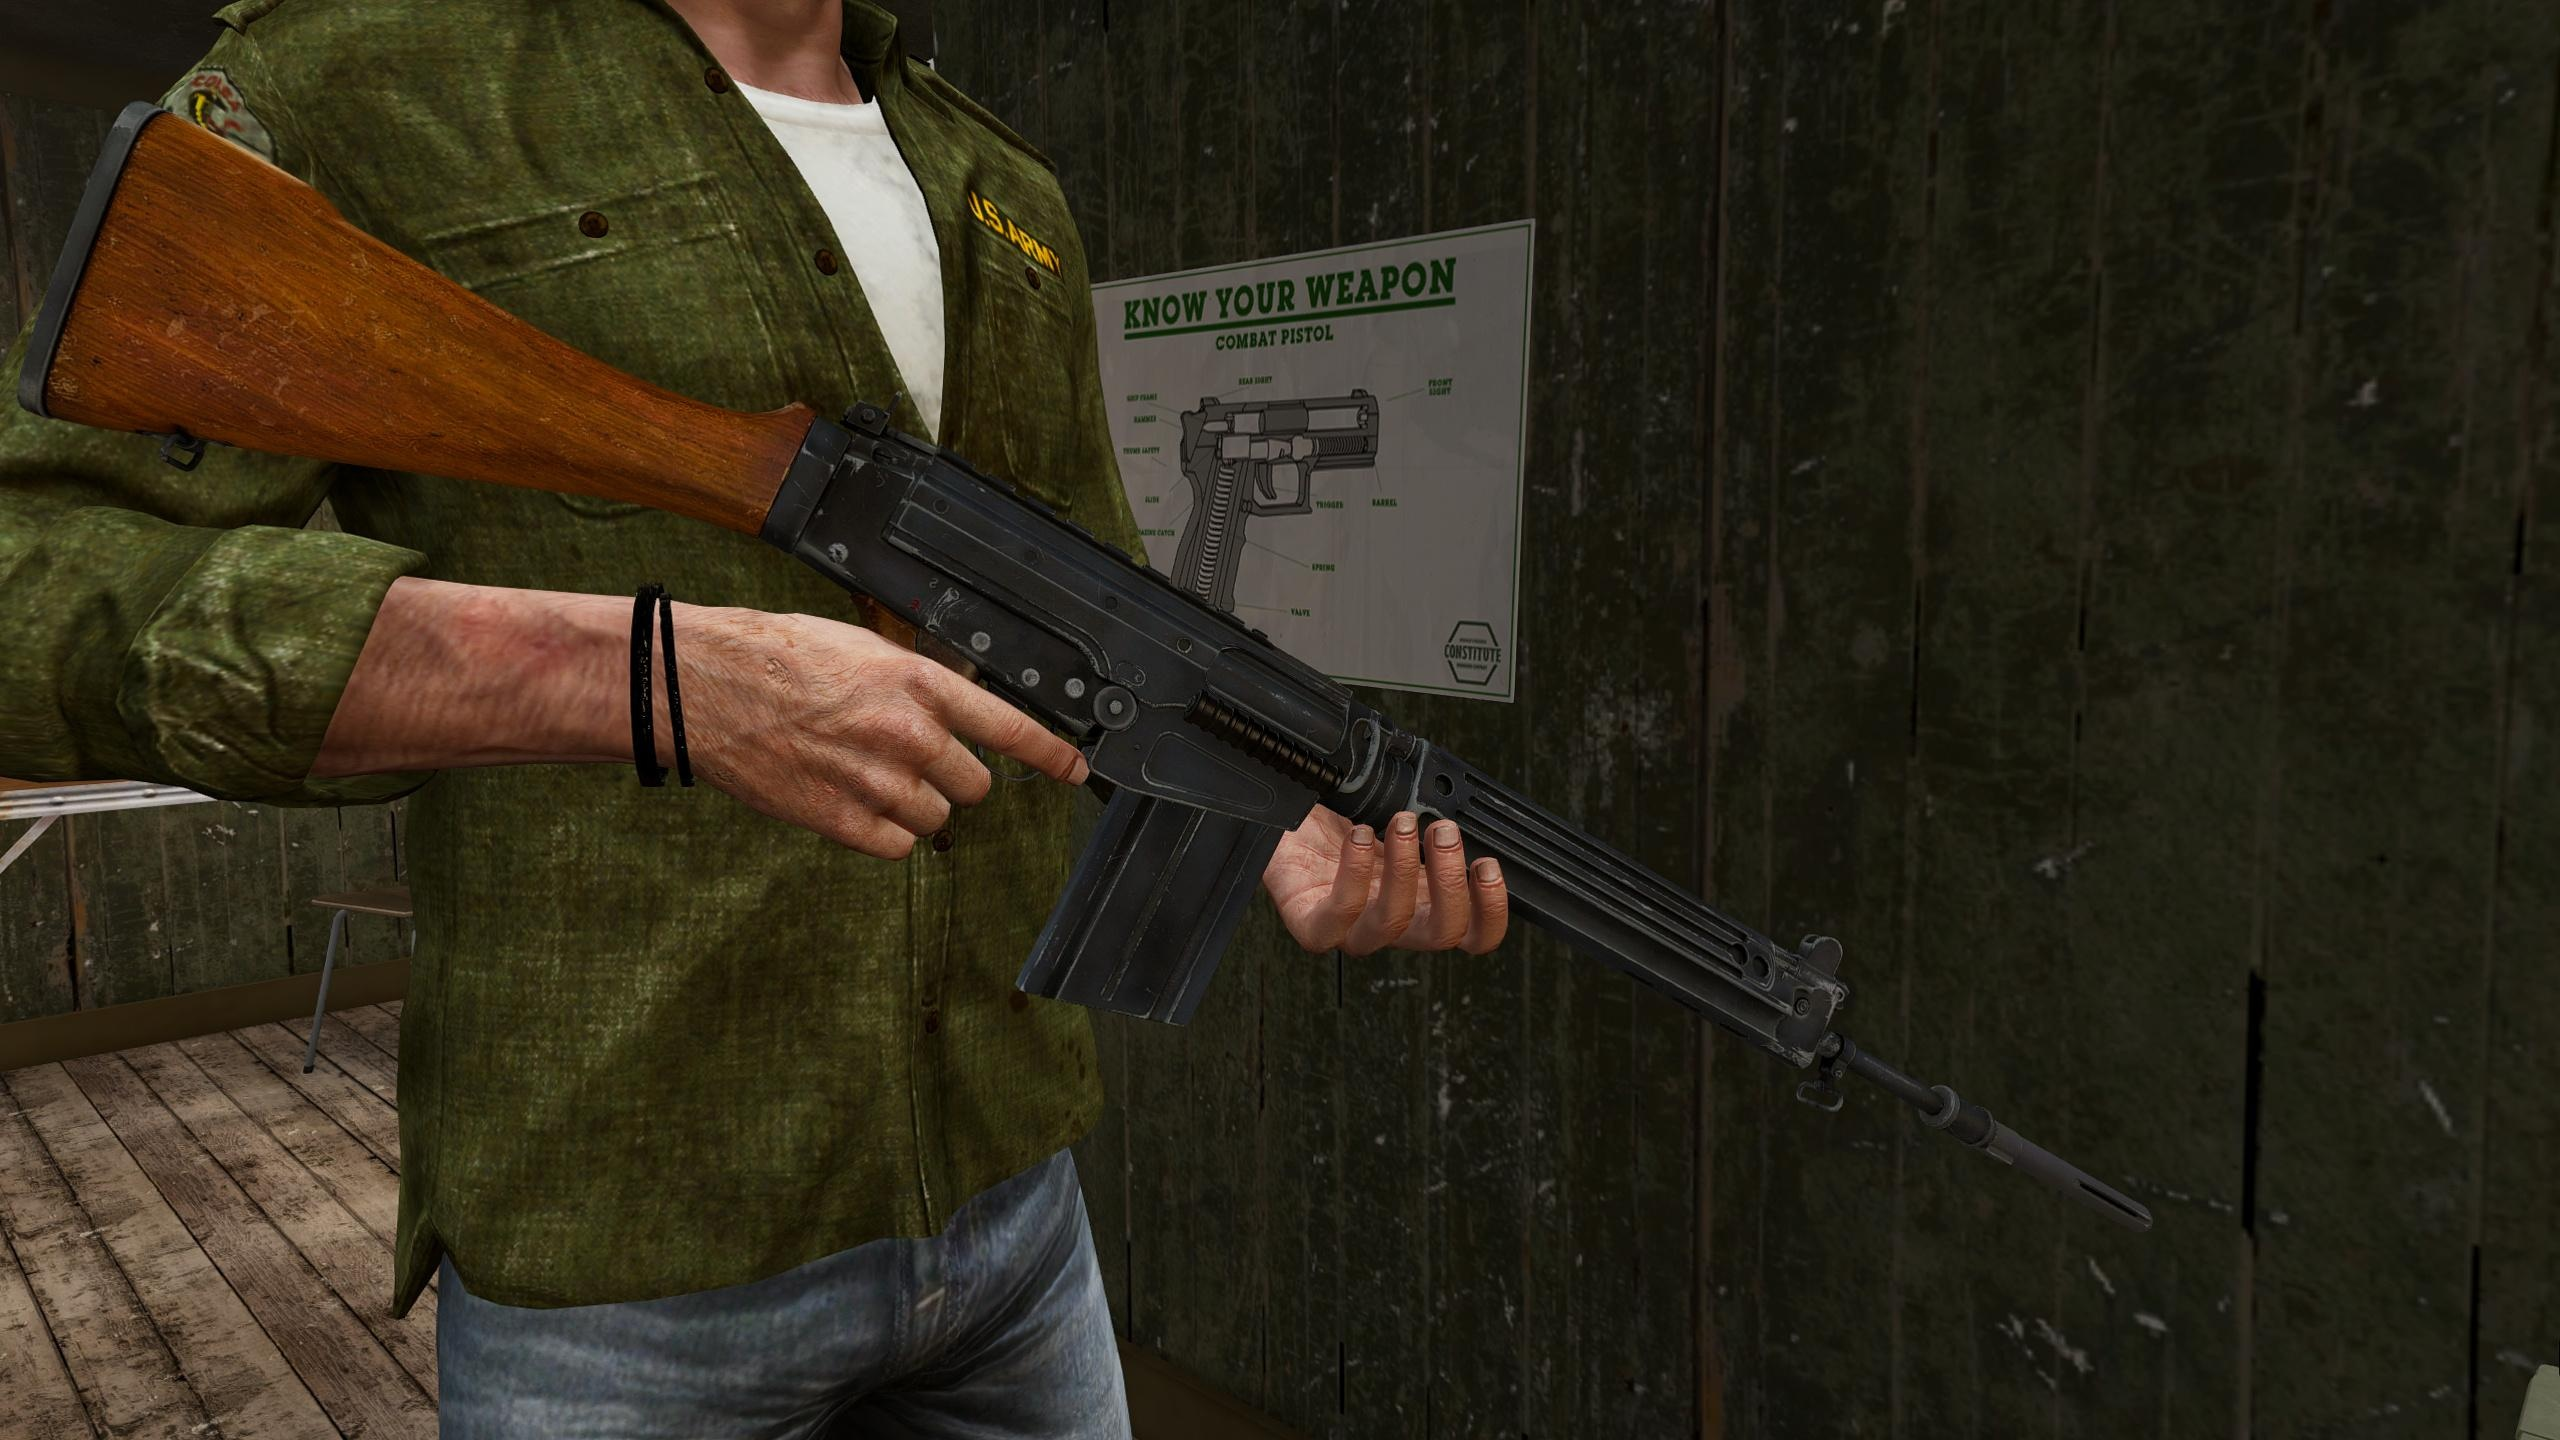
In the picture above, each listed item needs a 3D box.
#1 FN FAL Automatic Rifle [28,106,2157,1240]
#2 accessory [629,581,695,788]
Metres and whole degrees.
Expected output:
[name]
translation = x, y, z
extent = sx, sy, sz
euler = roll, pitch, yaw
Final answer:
[FN FAL Automatic Rifle]
translation = -0.150, -0.152, 4.547
extent = 5.322, 1.317, 0.499
euler = 27, -19, -19
[accessory]
translation = -1.142, -0.056, 3.971
extent = 0.117, 0.322, 0.167
euler = -12, 30, -15
